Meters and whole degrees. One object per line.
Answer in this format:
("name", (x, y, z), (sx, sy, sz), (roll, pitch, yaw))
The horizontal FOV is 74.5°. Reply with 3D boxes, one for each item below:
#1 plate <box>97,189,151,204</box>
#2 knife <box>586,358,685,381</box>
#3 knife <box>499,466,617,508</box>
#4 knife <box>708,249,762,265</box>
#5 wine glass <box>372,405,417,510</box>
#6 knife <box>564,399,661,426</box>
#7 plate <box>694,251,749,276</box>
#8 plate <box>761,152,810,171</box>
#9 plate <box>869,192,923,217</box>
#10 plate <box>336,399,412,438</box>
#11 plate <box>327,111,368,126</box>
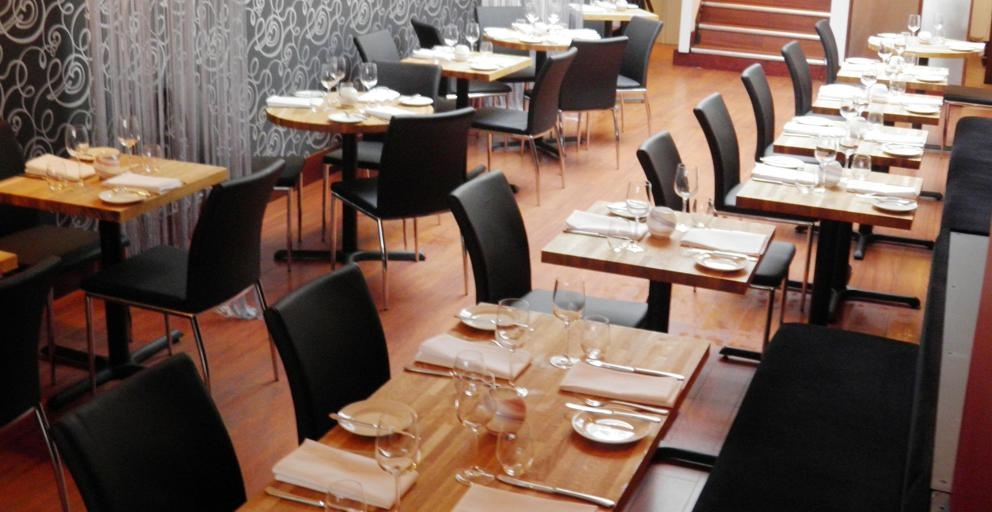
("plate", (-2.127, -0.344, 3.772), (0.153, 0.016, 0.148), (-4, 30, -21))
("knife", (0.614, 0.504, 2.870), (0.325, 0.023, 0.041), (7, 33, 14))
("knife", (0.227, 0.874, 2.443), (0.425, 0.020, 0.059), (11, 37, 8))
("knife", (1.307, 0.003, 3.527), (0.164, 0.023, 0.117), (13, 31, 25))
("wine glass", (-0.362, 0.759, 2.402), (0.155, 0.419, 0.153), (7, 31, 11))
("knife", (0.485, 0.652, 2.695), (0.381, 0.031, 0.043), (6, 45, 7))
("plate", (1.212, 0.040, 3.473), (0.304, 0.056, 0.169), (2, 25, -2))
("plate", (2.026, -0.672, 4.578), (0.279, 0.054, 0.353), (9, 26, 13))
("plate", (2.450, -0.321, 4.021), (0.241, 0.055, 0.257), (15, 28, 24))
("plate", (-0.476, 0.636, 2.589), (0.210, 0.028, 0.203), (-3, 25, -13))
("plate", (-1.095, -1.032, 4.892), (0.269, 0.042, 0.226), (5, 25, 4))
